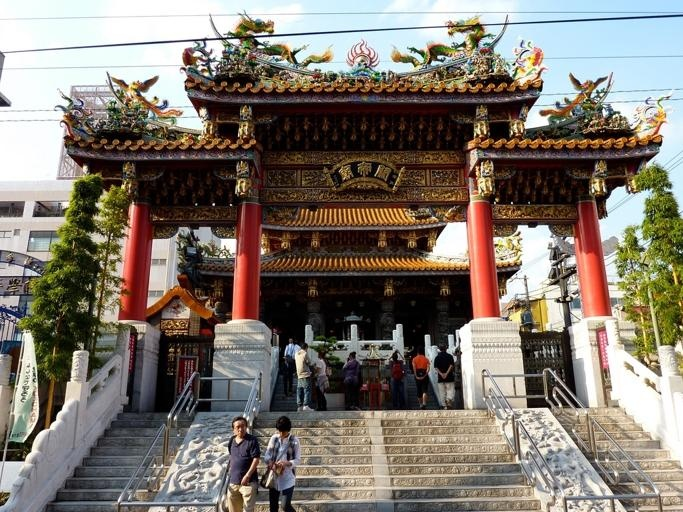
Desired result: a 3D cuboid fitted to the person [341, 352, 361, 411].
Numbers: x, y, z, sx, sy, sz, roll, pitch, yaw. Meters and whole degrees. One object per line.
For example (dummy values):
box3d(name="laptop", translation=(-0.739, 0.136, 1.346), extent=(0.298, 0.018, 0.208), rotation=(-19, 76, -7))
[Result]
box3d(name="person", translation=(0.256, 3.225, 13.133), extent=(0.408, 1.334, 0.815), rotation=(-1, -12, 0))

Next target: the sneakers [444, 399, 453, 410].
box3d(name="sneakers", translation=(2.622, 3.660, 12.593), extent=(0.233, 0.263, 0.232), rotation=(0, -6, 1))

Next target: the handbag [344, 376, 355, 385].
box3d(name="handbag", translation=(0.208, 3.101, 12.796), extent=(0.285, 0.195, 0.103), rotation=(-1, -12, 0))

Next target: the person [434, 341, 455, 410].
box3d(name="person", translation=(2.585, 3.009, 12.782), extent=(0.454, 1.533, 0.551), rotation=(-4, -13, 13))

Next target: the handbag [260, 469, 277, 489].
box3d(name="handbag", translation=(-1.068, 3.217, 7.394), extent=(0.238, 0.287, 0.227), rotation=(4, -13, -23))
